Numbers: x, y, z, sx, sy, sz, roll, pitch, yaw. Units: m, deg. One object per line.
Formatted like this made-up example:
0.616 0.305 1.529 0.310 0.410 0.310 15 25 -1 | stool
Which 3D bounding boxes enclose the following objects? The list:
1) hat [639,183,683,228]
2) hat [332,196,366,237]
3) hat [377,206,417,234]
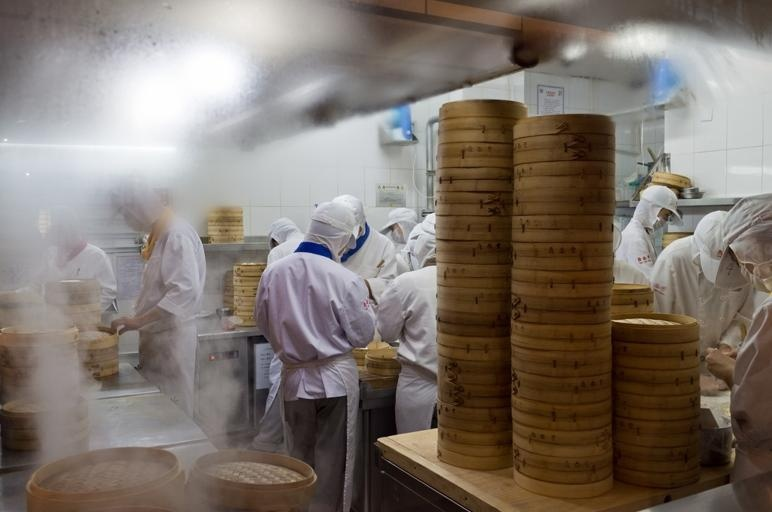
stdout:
2.098 -0.389 4.792 0.386 0.340 0.257 -2 10 3 | hat
-0.217 -0.257 3.845 0.187 0.193 0.190 0 38 0 | hat
0.117 -0.375 6.247 0.348 0.196 0.211 -4 4 -23 | hat
